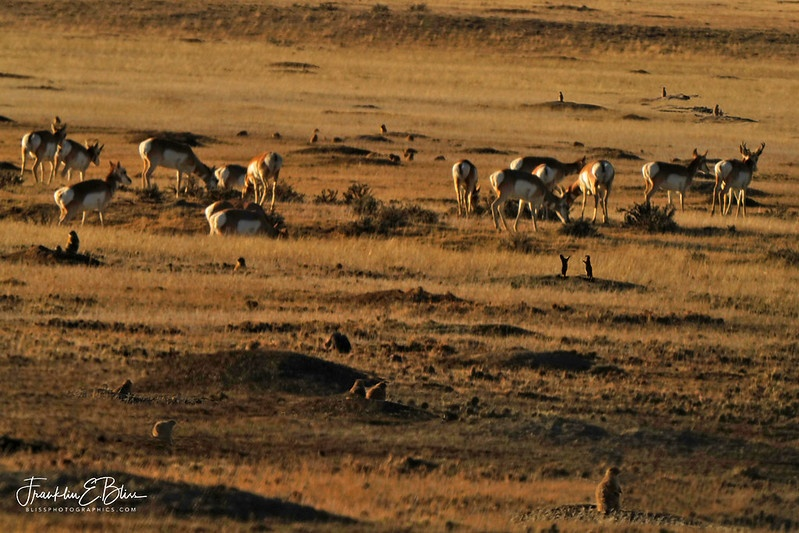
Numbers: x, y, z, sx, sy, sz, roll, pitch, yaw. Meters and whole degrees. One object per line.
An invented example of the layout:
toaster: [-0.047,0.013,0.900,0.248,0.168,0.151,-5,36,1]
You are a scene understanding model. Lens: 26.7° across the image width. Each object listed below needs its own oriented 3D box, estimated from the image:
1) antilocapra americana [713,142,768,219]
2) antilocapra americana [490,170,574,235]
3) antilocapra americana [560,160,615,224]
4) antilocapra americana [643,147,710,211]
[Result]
antilocapra americana: [16.719,-4.372,83.434,1.295,3.805,4.177,7,1,35]
antilocapra americana: [5.847,-3.109,77.747,3.397,2.817,1.724,-1,7,-19]
antilocapra americana: [9.052,-3.575,81.364,1.124,2.978,4.262,0,-4,-18]
antilocapra americana: [13.531,-4.230,82.316,4.103,3.394,1.042,3,0,-30]
